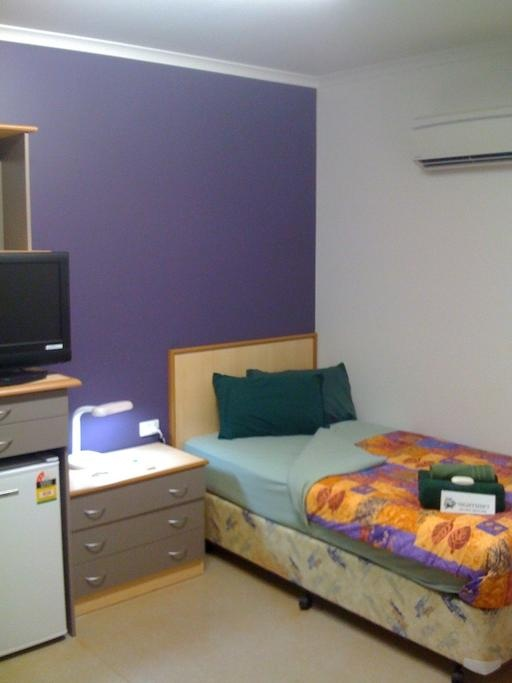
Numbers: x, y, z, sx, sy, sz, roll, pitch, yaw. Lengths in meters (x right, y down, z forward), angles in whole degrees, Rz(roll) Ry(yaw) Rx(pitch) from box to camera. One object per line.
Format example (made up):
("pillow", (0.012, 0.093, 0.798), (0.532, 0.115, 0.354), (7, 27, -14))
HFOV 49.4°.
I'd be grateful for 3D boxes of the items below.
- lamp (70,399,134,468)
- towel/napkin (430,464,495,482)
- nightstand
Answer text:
("lamp", (-0.680, 0.403, 2.515), (0.294, 0.352, 0.217), (0, 1, 30))
("towel/napkin", (0.708, 0.453, 1.923), (0.212, 0.043, 0.084), (1, 2, 18))
("nightstand", (-0.575, 0.791, 2.500), (0.615, 0.563, 0.387), (-6, 14, -29))
